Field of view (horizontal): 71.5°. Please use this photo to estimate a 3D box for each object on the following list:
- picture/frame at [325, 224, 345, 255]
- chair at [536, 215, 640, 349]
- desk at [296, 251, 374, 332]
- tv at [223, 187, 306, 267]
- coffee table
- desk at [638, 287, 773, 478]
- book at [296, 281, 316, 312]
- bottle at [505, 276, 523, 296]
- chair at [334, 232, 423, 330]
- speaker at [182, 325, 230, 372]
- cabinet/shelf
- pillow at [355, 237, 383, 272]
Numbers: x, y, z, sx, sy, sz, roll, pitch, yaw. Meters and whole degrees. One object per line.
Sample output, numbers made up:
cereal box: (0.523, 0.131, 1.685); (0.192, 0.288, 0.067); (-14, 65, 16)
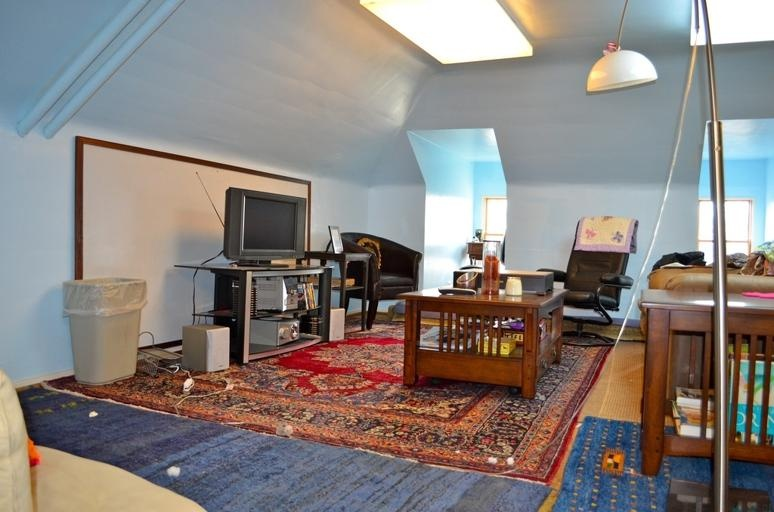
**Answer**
picture/frame: (-0.580, -0.164, 5.945); (0.204, 0.340, 0.364); (8, 6, 19)
chair: (1.967, 0.261, 5.423); (0.890, 1.232, 0.914); (-2, 6, -41)
desk: (-0.585, 0.329, 5.683); (0.519, 0.628, 0.389); (9, -1, 26)
tv: (-1.115, -0.235, 4.666); (0.356, 0.605, 0.831); (4, 2, 35)
coffee table: (0.652, 0.578, 3.798); (0.809, 0.519, 1.023); (0, 3, 25)
desk: (1.533, 0.616, 2.640); (0.600, 0.846, 0.500); (3, 9, 17)
book: (-0.726, 0.367, 4.805); (0.173, 0.267, 0.297); (-1, 4, 14)
bottle: (0.881, 0.217, 3.724); (0.126, 0.108, 0.120); (0, 0, 2)
chair: (-0.151, 0.236, 6.353); (0.948, 0.971, 1.039); (6, 3, 21)
speaker: (-1.376, 0.701, 4.114); (0.345, 0.294, 0.253); (1, 1, 30)
cabinet/shelf: (-1.119, 0.471, 4.767); (0.812, 0.705, 1.347); (2, 1, 23)
pillow: (-0.186, -0.042, 6.589); (0.121, 0.379, 0.333); (-26, -8, 24)
